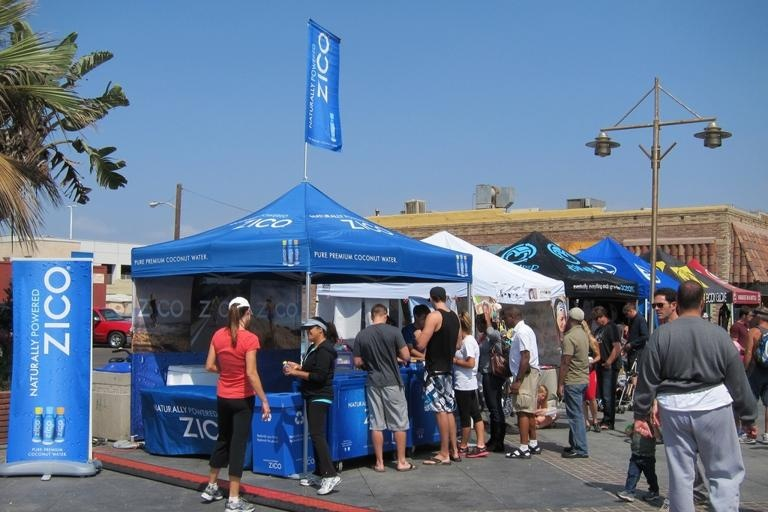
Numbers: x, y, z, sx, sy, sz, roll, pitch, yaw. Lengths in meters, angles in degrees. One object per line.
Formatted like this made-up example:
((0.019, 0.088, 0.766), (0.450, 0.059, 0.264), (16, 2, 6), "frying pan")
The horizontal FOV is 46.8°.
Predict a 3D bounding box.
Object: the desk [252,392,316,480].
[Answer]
((-1.555, 2.802, 13.870), (0.996, 1.160, 0.969), (1, -9, -28), "desk")

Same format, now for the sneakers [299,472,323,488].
((-1.098, 3.350, 13.202), (0.155, 0.105, 0.270), (-1, -15, 37), "sneakers")

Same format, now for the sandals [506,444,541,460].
((2.364, 3.314, 14.903), (0.589, 0.238, 0.205), (2, -6, -4), "sandals")

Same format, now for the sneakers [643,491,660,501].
((3.787, 3.438, 12.656), (0.281, 0.108, 0.097), (13, -19, -36), "sneakers")

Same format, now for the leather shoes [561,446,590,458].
((3.188, 3.292, 14.841), (0.454, 0.160, 0.169), (4, -5, 5), "leather shoes")

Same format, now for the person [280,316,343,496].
((-1.039, 2.198, 13.112), (0.679, 2.570, 0.423), (-1, -7, -3), "person")

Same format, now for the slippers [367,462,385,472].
((-0.128, 3.353, 14.036), (0.146, 0.087, 0.350), (0, 4, -8), "slippers")

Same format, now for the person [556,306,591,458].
((3.190, 2.136, 14.938), (0.528, 2.514, 0.957), (-3, -7, 12), "person")

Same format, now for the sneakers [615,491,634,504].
((3.456, 3.439, 12.649), (0.305, 0.115, 0.104), (16, -25, -18), "sneakers")

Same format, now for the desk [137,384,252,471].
((-3.037, 2.671, 14.798), (2.109, 0.977, 1.185), (1, 2, 29), "desk")

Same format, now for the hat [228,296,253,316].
((-2.054, 0.738, 12.569), (0.344, 0.221, 0.431), (-2, 8, -4), "hat")

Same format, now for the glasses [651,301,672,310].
((3.924, 0.710, 12.463), (0.224, 0.076, 0.168), (8, -11, -30), "glasses")

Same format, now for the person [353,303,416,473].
((-0.033, 2.069, 14.014), (0.877, 2.634, 0.735), (-1, -7, -2), "person")

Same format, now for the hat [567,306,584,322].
((3.247, 0.989, 15.109), (0.234, 0.164, 0.296), (0, 15, -6), "hat")

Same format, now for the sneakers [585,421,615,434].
((4.186, 3.381, 17.481), (0.208, 0.233, 0.601), (3, -11, -41), "sneakers")
